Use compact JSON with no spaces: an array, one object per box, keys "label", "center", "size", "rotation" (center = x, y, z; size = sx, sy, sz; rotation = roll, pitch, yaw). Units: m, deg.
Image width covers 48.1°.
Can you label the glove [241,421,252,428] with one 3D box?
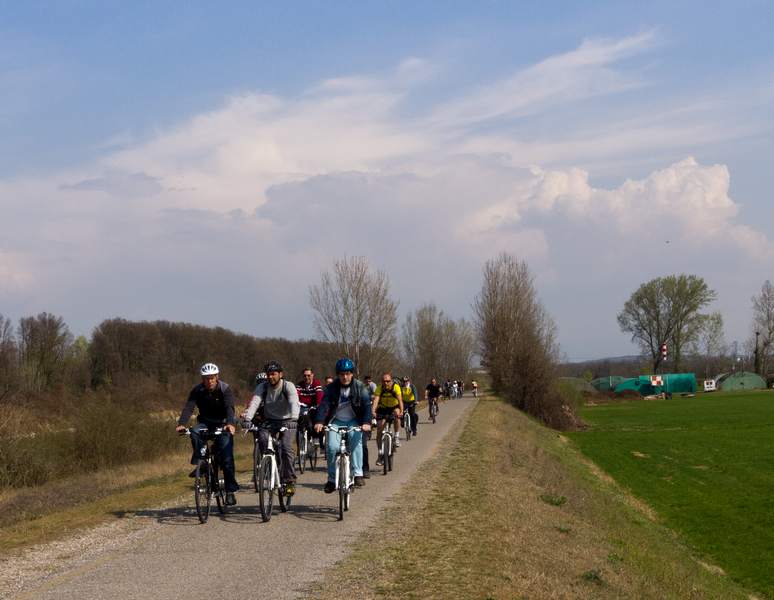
[{"label":"glove","center":[-3.127,2.794,19.495],"size":[0.267,0.154,0.387],"rotation":[1,-1,-2]}]

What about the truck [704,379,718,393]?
[{"label":"truck","center":[35.795,9.287,95.890],"size":[1.387,1.715,2.564],"rotation":[-2,-9,14]}]

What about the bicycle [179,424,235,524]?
[{"label":"bicycle","center":[-3.569,3.554,17.742],"size":[0.495,1.911,1.352],"rotation":[2,0,2]}]

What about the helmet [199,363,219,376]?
[{"label":"helmet","center":[-3.576,1.420,17.628],"size":[0.392,0.260,0.278],"rotation":[3,-1,-36]}]

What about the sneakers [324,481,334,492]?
[{"label":"sneakers","center":[-1.160,3.837,17.799],"size":[0.196,0.214,0.209],"rotation":[0,-18,0]}]

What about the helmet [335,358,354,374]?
[{"label":"helmet","center":[-0.860,1.380,18.333],"size":[0.250,0.390,0.371],"rotation":[1,-12,0]}]

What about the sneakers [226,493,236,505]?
[{"label":"sneakers","center":[-3.251,4.209,18.279],"size":[0.145,0.277,0.271],"rotation":[0,-22,-2]}]

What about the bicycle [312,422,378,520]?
[{"label":"bicycle","center":[-0.894,3.567,18.087],"size":[0.576,1.924,0.870],"rotation":[2,0,23]}]
